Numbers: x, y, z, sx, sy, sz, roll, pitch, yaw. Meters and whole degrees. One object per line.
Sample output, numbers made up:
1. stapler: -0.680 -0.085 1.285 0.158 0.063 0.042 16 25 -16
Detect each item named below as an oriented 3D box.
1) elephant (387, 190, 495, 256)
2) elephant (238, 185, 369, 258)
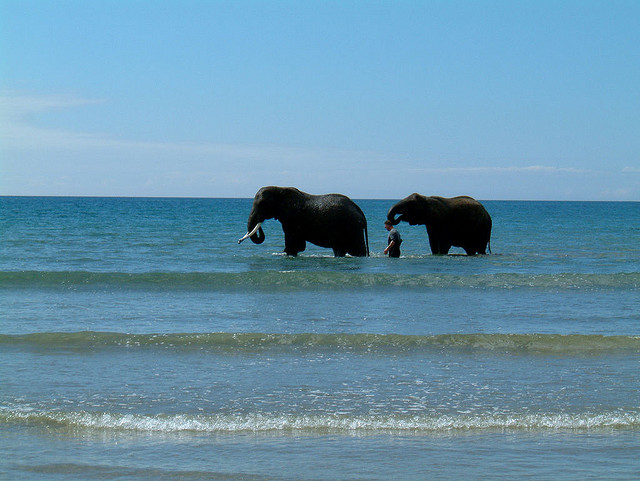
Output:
1. elephant: 3.640 -0.456 44.711 3.041 1.695 1.087 2 -2 -25
2. elephant: -0.303 -0.438 43.567 3.953 1.615 1.593 9 12 22
